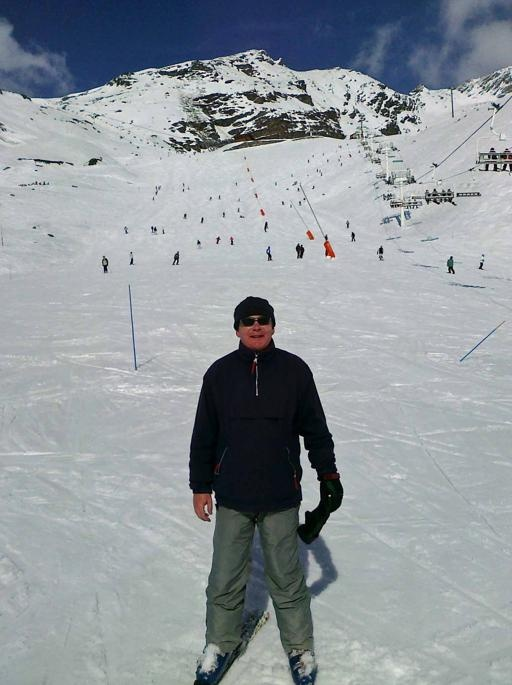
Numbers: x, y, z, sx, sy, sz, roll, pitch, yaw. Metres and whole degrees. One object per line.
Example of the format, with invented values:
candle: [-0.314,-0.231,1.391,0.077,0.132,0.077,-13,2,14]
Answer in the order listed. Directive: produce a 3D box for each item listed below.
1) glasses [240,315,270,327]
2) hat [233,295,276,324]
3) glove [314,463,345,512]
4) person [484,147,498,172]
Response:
glasses: [-0.009,-0.134,3.911,0.168,0.068,0.033,-1,13,-4]
hat: [-0.017,-0.232,3.969,0.176,0.158,0.212,0,-32,-1]
glove: [0.450,0.888,3.956,0.199,0.254,0.104,12,54,13]
person: [14.393,-11.199,39.411,0.747,1.374,1.675,3,13,13]
